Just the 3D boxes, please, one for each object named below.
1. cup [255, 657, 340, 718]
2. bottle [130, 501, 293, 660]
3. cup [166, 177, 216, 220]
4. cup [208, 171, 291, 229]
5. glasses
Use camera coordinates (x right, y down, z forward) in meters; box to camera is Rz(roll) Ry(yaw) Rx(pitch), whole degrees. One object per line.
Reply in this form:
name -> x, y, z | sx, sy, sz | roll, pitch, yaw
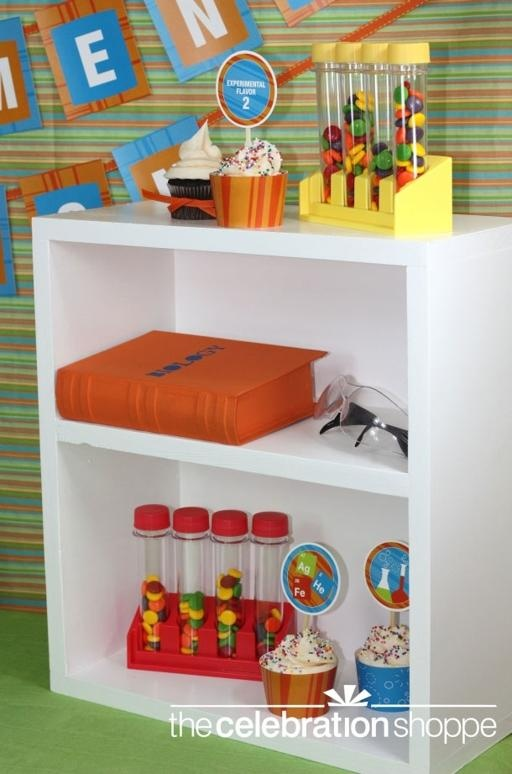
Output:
cup -> 0.065, 0.414, 0.953 | 0.082, 0.052, 0.090 | -1, -6, 0
bottle -> -0.072, 0.336, 1.159 | 0.263, 0.244, 0.134 | 1, 1, 15
cup -> -0.091, -0.276, 1.001 | 0.069, 0.057, 0.068 | 0, 2, 0
cup -> -0.011, -0.238, 0.878 | 0.083, 0.052, 0.083 | 0, 18, 0
glasses -> 0.148, 0.043, 0.935 | 0.112, 0.039, 0.084 | 23, 4, -41
